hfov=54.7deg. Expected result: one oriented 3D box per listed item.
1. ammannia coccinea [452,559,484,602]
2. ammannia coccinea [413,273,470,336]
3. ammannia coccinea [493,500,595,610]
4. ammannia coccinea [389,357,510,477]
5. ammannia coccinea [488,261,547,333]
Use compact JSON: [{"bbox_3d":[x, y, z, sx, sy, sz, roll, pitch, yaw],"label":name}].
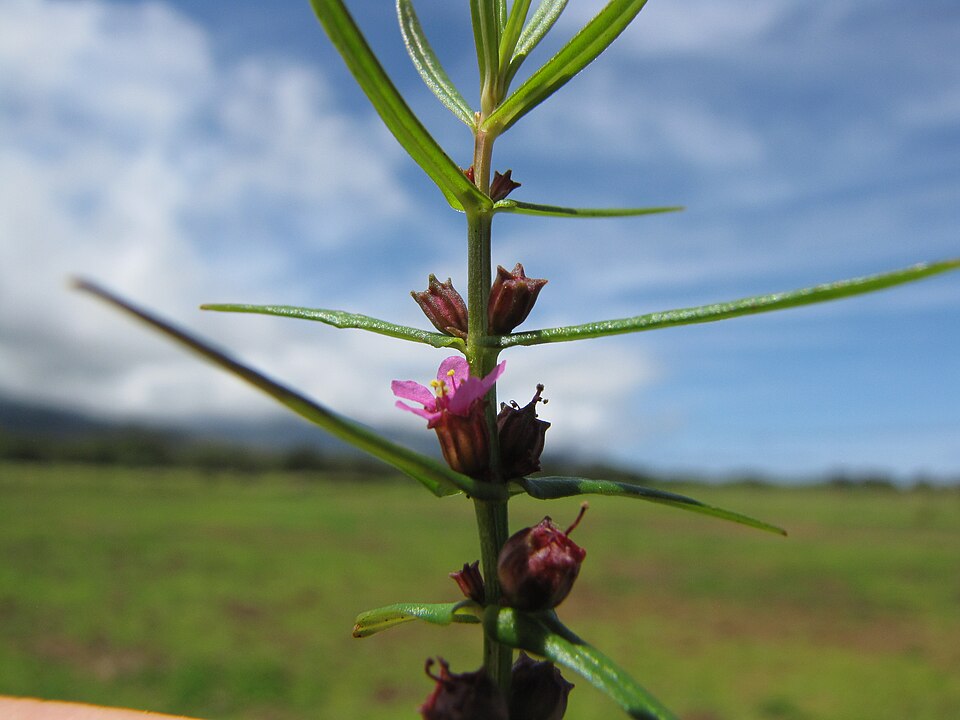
[{"bbox_3d":[-0.035,0.602,2.517,0.080,0.106,0.136,6,-9,-18],"label":"ammannia coccinea"},{"bbox_3d":[-0.105,-0.153,2.535,0.149,0.176,0.152,5,-9,-10],"label":"ammannia coccinea"},{"bbox_3d":[0.155,0.536,2.430,0.223,0.241,0.055,3,-8,1],"label":"ammannia coccinea"},{"bbox_3d":[-0.112,0.109,2.409,0.333,0.288,0.327,-11,-5,42],"label":"ammannia coccinea"},{"bbox_3d":[0.091,-0.166,2.546,0.135,0.212,0.068,7,-9,-25],"label":"ammannia coccinea"}]
